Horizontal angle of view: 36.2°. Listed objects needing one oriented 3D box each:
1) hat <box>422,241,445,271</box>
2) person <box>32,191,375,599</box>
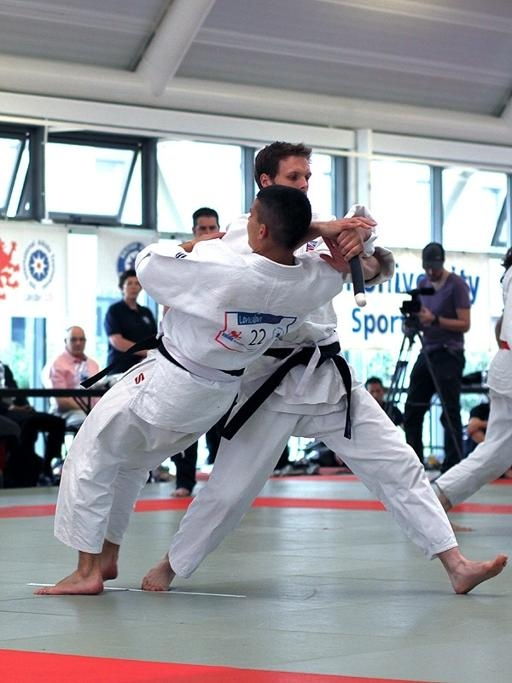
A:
[{"bbox_3d":[1.528,-0.731,6.786,0.215,0.222,0.245,4,16,9],"label":"hat"},{"bbox_3d":[-0.139,0.168,2.238,0.840,1.167,0.401,3,3,17],"label":"person"}]
